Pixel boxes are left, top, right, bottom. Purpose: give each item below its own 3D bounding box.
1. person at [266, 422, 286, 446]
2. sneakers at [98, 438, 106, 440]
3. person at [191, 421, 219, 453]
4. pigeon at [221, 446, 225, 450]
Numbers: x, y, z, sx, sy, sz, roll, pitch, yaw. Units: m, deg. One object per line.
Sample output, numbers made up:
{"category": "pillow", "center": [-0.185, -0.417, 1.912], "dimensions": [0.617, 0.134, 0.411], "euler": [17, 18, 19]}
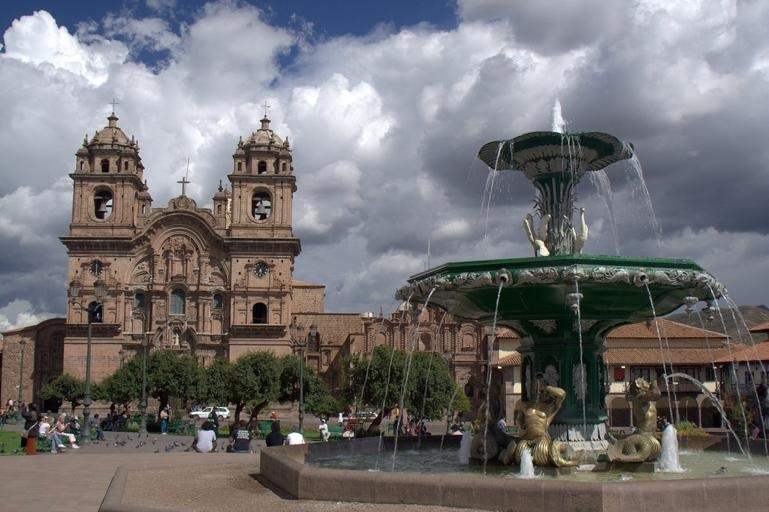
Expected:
{"category": "person", "center": [-2.967, 4.829, 21.329], "dimensions": [0.386, 0.610, 1.269], "euler": [1, -12, -9]}
{"category": "sneakers", "center": [-11.125, 7.187, 30.657], "dimensions": [0.280, 0.102, 0.262], "euler": [7, -6, -21]}
{"category": "person", "center": [-5.205, 5.243, 22.722], "dimensions": [0.638, 0.890, 1.175], "euler": [2, -13, -13]}
{"category": "pigeon", "center": [-5.708, 6.785, 27.540], "dimensions": [0.115, 0.121, 0.174], "euler": [-1, -2, 7]}
